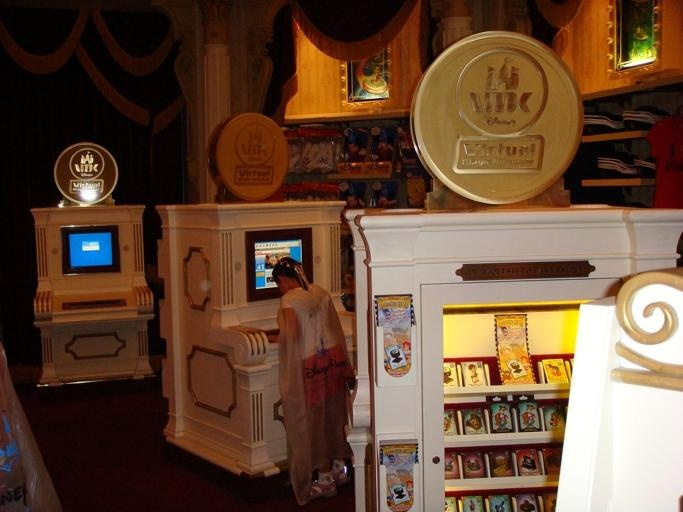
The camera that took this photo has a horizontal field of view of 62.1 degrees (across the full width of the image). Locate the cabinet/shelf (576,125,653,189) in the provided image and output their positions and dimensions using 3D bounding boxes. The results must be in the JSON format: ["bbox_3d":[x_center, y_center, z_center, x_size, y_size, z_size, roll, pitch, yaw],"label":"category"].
[{"bbox_3d":[2.061,-0.686,4.119,0.249,0.357,0.501,-11,11,-23],"label":"cabinet/shelf"}]

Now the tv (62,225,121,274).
[{"bbox_3d":[-2.940,-0.047,6.617,0.630,0.576,0.377,-2,-11,-29],"label":"tv"}]

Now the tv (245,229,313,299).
[{"bbox_3d":[-0.509,0.068,4.323,0.490,0.507,0.050,-5,5,-35],"label":"tv"}]

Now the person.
[{"bbox_3d":[-0.186,0.919,4.063,0.508,1.745,0.396,0,6,1],"label":"person"}]
